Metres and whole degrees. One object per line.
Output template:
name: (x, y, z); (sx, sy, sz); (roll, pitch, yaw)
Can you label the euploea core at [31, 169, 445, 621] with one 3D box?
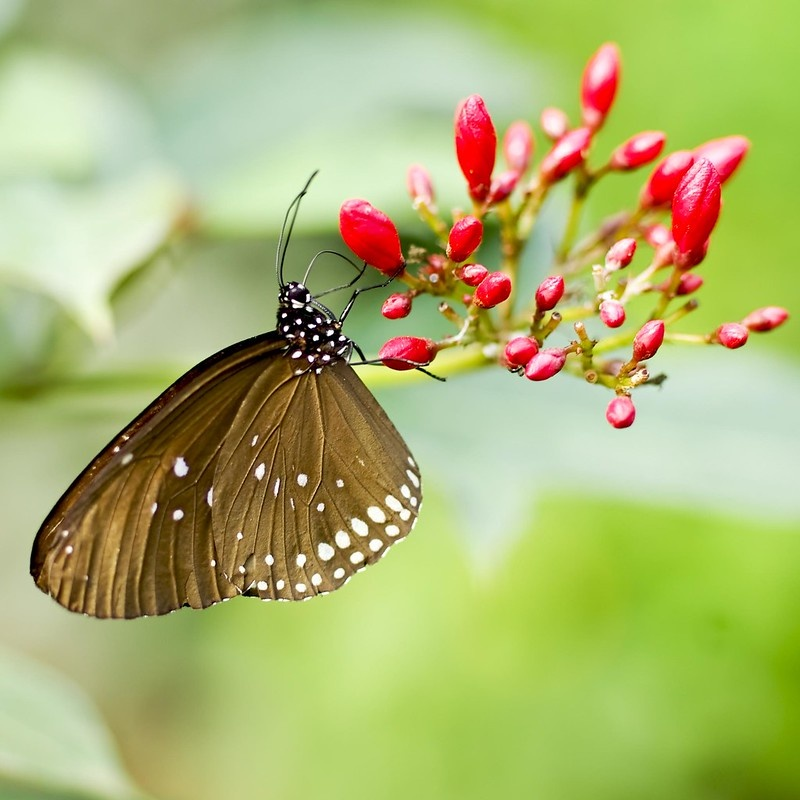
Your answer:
euploea core: (-0.356, 0.018, 2.476); (0.938, 1.157, 0.793); (0, -15, -6)
